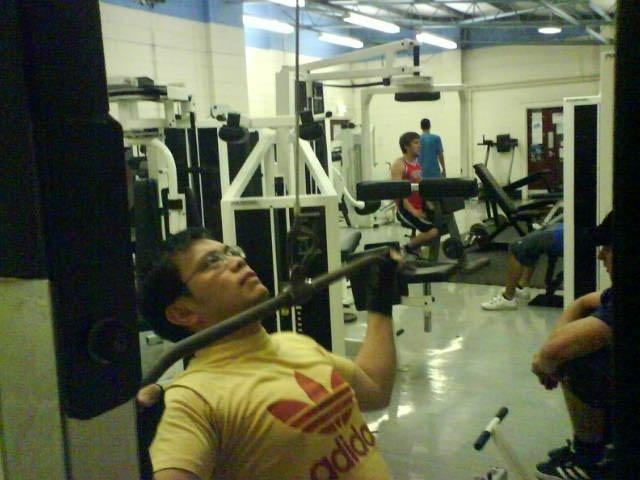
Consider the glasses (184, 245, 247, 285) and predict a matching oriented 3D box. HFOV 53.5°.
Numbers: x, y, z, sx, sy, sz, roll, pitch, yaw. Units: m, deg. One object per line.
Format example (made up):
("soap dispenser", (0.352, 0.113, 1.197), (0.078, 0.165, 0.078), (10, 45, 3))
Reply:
("glasses", (-0.121, 0.028, 0.742), (0.054, 0.017, 0.042), (-18, 8, 17))
